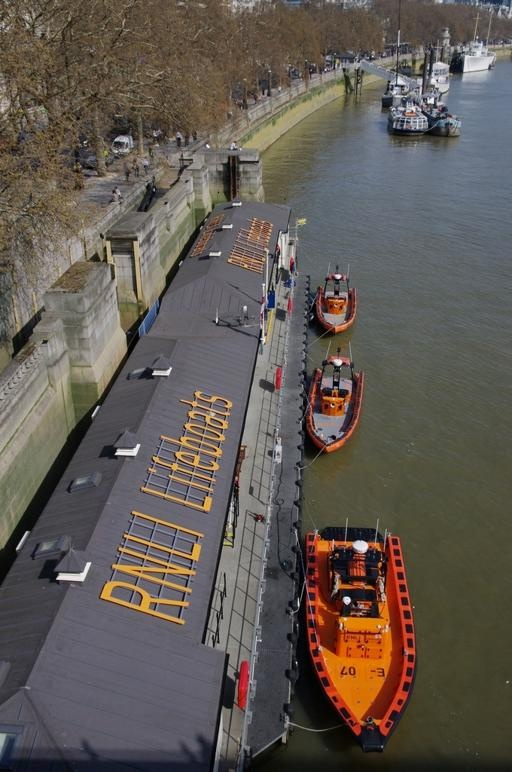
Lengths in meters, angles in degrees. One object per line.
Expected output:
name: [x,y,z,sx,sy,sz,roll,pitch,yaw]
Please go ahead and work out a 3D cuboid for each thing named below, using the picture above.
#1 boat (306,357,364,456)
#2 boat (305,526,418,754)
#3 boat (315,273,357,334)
boat: [4.421,1.013,33.450,2.536,2.640,6.619,5,46,13]
boat: [3.605,8.094,20.221,2.525,2.751,7.648,0,47,4]
boat: [6.215,-6.419,46.182,2.518,2.758,7.054,-1,43,11]
